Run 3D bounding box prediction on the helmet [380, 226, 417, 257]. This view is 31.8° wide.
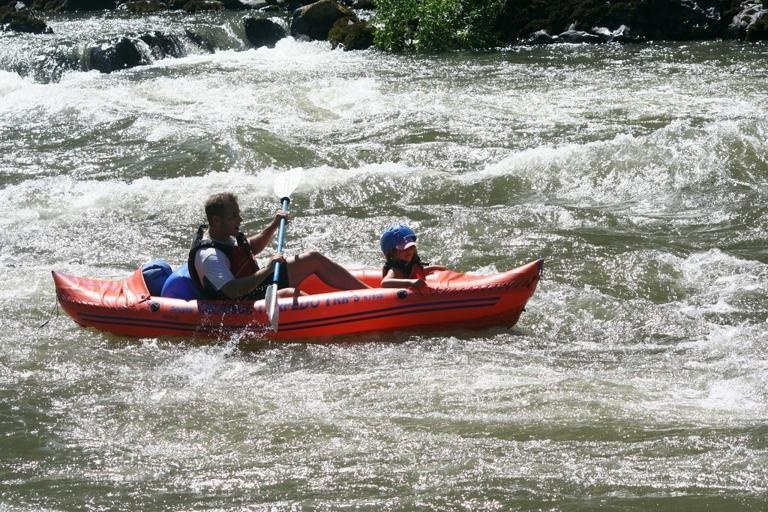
[{"bbox_3d":[0.188,-0.241,20.097,0.531,0.276,0.366,-20,8,26],"label":"helmet"}]

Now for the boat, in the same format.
[{"bbox_3d":[-1.277,0.658,20.348,7.162,1.082,2.251,-2,26,3],"label":"boat"}]
